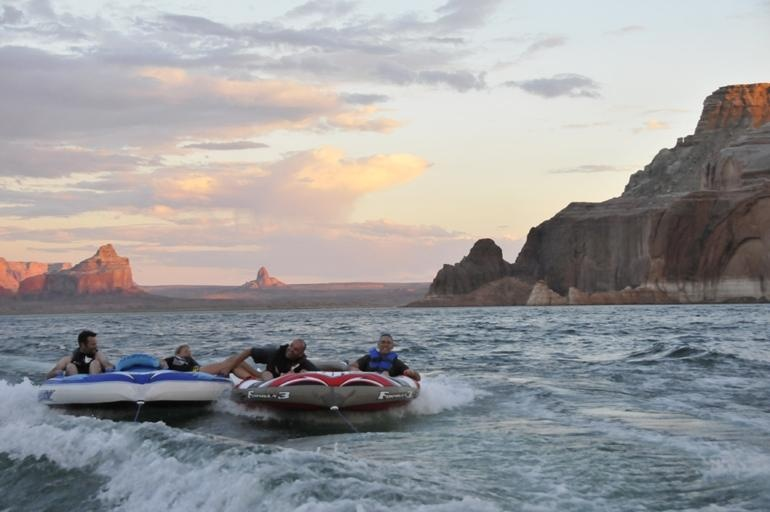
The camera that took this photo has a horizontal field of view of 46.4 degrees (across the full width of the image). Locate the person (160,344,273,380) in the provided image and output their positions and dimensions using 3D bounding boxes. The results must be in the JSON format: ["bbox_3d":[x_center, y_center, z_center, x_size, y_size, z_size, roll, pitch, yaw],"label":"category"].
[{"bbox_3d":[-4.885,2.929,24.942,2.500,0.637,1.225,0,-8,-3],"label":"person"}]

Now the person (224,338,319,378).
[{"bbox_3d":[-3.132,2.863,24.741,1.973,0.595,1.511,-15,-21,39],"label":"person"}]
